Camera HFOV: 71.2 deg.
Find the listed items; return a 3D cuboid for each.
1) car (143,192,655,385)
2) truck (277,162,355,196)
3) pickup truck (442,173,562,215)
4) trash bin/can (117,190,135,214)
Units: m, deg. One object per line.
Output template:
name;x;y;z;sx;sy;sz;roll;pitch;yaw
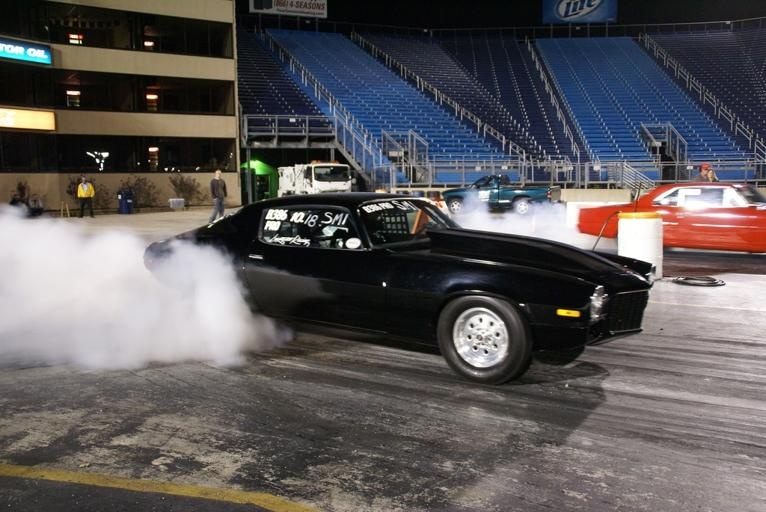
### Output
car;0.127;0.054;6.113;4.756;1.090;2.117;5;12;27
truck;-4.098;-4.282;31.130;2.767;1.744;4.726;-6;8;-33
pickup truck;5.784;-3.128;26.817;5.690;1.512;2.357;4;10;22
trash bin/can;-14.451;-3.005;30.000;0.696;1.248;0.641;-7;14;-28
